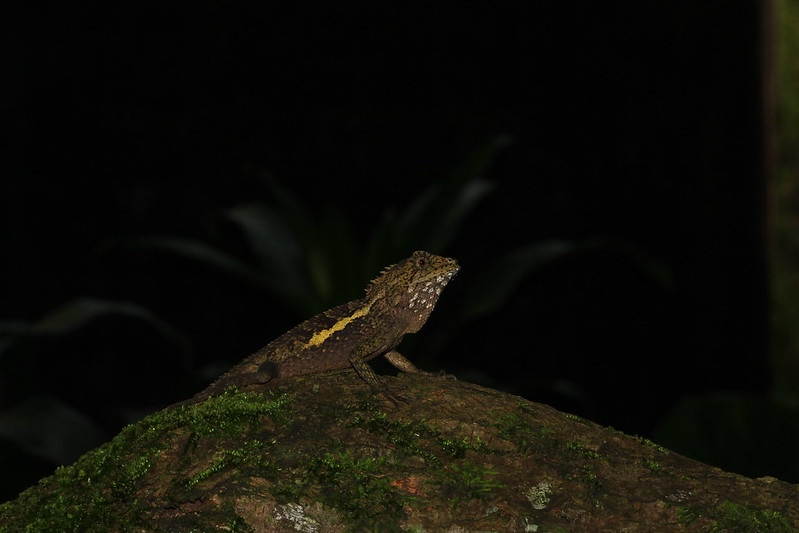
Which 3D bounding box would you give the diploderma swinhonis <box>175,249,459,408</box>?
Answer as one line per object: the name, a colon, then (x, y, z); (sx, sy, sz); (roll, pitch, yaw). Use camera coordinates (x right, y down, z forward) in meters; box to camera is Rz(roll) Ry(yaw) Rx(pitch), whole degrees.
diploderma swinhonis: (-0.466, 0.500, 7.798); (2.118, 1.078, 0.706); (-7, 24, -23)
